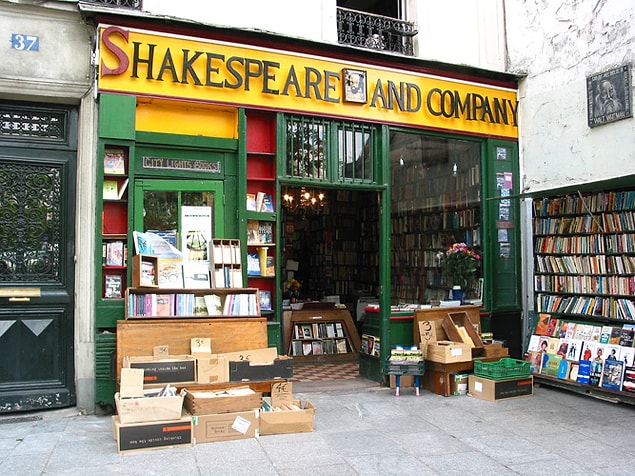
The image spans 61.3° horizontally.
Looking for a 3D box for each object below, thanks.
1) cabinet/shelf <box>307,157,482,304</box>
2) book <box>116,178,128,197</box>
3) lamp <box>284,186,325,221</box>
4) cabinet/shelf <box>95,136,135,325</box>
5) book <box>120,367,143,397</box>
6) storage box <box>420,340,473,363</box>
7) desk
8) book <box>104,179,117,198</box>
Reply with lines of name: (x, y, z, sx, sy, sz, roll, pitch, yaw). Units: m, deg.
cabinet/shelf: (1.415, -0.135, 9.592, 0.950, 2.638, 2.672, 0, 0, -31)
book: (-2.411, -0.614, 6.638, 0.021, 0.199, 0.152, 20, 32, -14)
lamp: (-0.344, -0.787, 12.522, 0.688, 0.508, 0.727, 1, -2, -27)
cabinet/shelf: (-2.453, -0.044, 6.507, 0.428, 2.282, 0.428, 0, 2, -18)
book: (-1.917, 1.495, 5.624, 0.248, 0.264, 0.260, 1, -4, -8)
storage box: (1.785, 1.533, 7.194, 0.307, 0.196, 0.407, -1, 2, -28)
desk: (2.056, 1.550, 7.593, 1.249, 1.023, 0.744, -2, 1, -33)
book: (-2.559, -0.600, 6.621, 0.222, 0.278, 0.036, 3, -15, -26)
